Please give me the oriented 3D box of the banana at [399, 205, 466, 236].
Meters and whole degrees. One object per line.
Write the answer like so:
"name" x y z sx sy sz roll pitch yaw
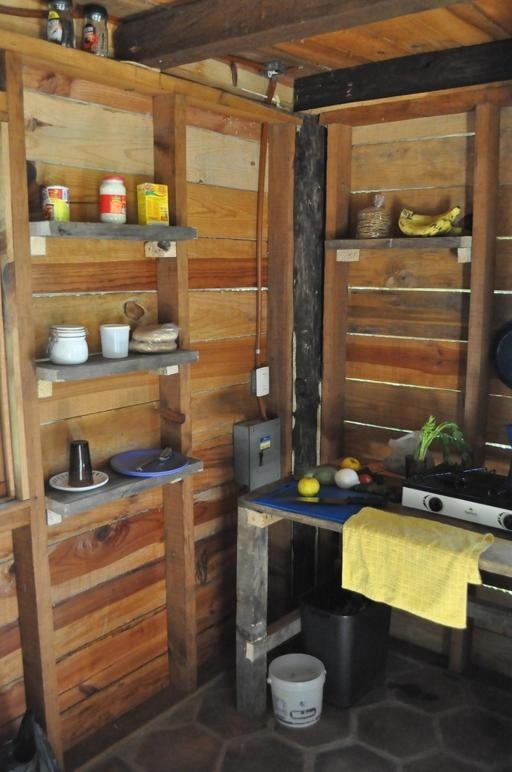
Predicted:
"banana" 0.662 -0.619 2.324 0.238 0.140 0.197 3 6 30

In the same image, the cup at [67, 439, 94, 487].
"cup" -0.484 0.208 1.679 0.063 0.120 0.095 -2 6 -26

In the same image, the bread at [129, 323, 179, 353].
"bread" -0.309 -0.148 1.849 0.101 0.062 0.103 7 9 43

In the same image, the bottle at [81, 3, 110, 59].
"bottle" -0.424 -0.928 1.617 0.069 0.121 0.070 0 5 0

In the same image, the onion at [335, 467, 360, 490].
"onion" 0.309 0.315 2.134 0.077 0.060 0.061 17 44 17

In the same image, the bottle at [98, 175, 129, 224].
"bottle" -0.405 -0.508 1.686 0.081 0.129 0.071 1 5 7

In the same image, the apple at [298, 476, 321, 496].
"apple" 0.172 0.326 2.023 0.061 0.055 0.061 3 -1 -36

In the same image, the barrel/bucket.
"barrel/bucket" 0.136 1.028 2.078 0.209 0.159 0.198 -1 0 0

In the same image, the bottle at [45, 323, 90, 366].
"bottle" -0.477 -0.104 1.553 0.102 0.098 0.096 -1 4 2

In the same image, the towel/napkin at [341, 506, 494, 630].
"towel/napkin" 0.455 0.498 1.725 0.427 0.213 0.210 5 7 43

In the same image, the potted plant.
"potted plant" 0.652 0.208 2.206 0.208 0.246 0.190 10 13 24

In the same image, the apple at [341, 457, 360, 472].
"apple" 0.342 0.282 2.233 0.051 0.054 0.053 -1 3 17

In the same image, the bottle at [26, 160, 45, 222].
"bottle" -0.567 -0.502 1.575 0.037 0.147 0.055 -2 5 -19

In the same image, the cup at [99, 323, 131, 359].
"cup" -0.392 -0.123 1.700 0.098 0.087 0.078 -1 2 -27

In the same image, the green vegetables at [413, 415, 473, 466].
"green vegetables" 0.690 0.202 2.284 0.169 0.206 0.449 2 5 17

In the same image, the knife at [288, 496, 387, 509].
"knife" 0.252 0.365 1.971 0.318 0.028 0.076 1 5 12
